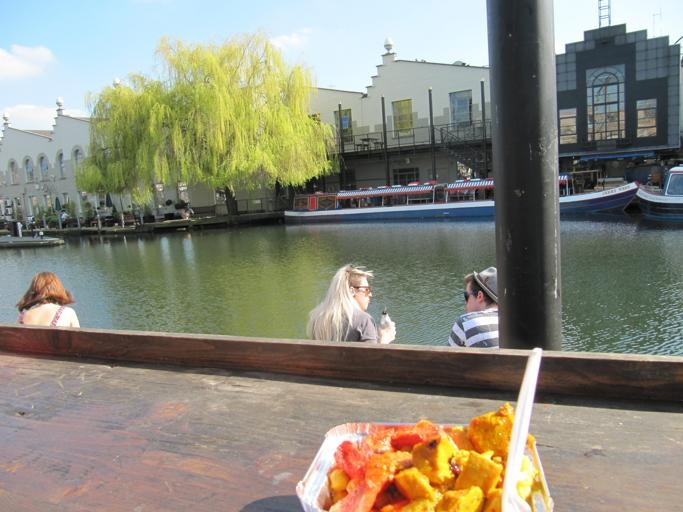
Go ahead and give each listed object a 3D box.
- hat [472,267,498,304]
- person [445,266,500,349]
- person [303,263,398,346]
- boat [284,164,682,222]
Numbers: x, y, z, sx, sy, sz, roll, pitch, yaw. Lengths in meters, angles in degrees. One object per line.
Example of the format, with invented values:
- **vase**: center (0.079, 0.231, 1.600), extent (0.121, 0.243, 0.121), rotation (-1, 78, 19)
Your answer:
- **hat**: center (1.070, 0.229, 4.043), extent (0.177, 0.097, 0.255), rotation (12, 26, -40)
- **person**: center (0.934, 0.360, 3.866), extent (0.332, 0.566, 1.250), rotation (-1, 8, 14)
- **person**: center (0.127, 0.441, 4.488), extent (0.754, 0.716, 0.751), rotation (2, -5, -35)
- **boat**: center (5.490, -2.647, 25.435), extent (17.933, 1.951, 4.015), rotation (3, 9, 37)
